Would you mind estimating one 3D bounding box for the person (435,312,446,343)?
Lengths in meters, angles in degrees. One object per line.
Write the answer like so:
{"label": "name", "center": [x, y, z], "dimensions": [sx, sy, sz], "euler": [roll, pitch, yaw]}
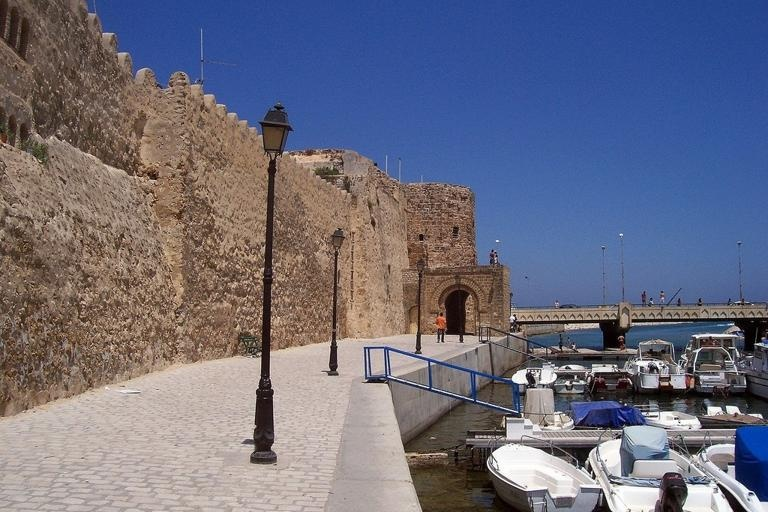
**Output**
{"label": "person", "center": [2.713, 3.456, 33.943], "dimensions": [0.431, 1.299, 1.586], "euler": [7, 1, 7]}
